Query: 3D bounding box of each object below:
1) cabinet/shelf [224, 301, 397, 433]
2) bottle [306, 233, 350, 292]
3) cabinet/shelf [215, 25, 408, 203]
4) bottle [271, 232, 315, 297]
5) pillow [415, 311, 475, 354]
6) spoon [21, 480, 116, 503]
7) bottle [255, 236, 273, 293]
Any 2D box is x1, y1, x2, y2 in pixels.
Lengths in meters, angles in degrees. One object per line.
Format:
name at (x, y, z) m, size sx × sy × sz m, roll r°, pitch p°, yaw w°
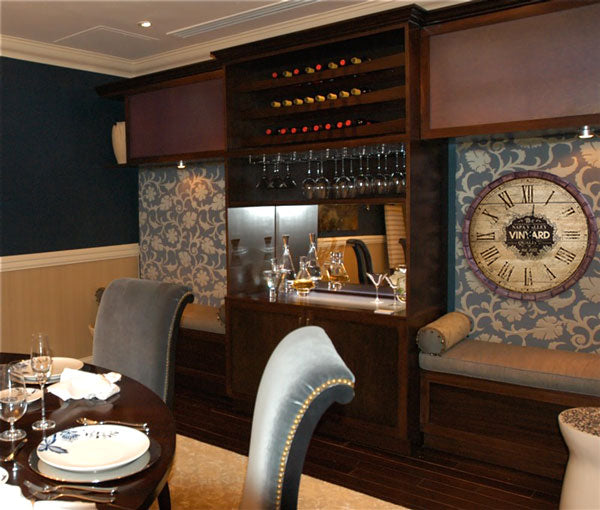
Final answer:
cabinet/shelf at (0.125, 0.708, 3.442) m, size 1.251 × 0.750 × 0.411 m, roll 5°, pitch 6°, yaw 25°
bottle at (0.209, 0.046, 3.726) m, size 0.433 × 0.465 × 0.181 m, roll 0°, pitch -1°, yaw 30°
cabinet/shelf at (0.088, -0.985, 3.399) m, size 1.333 × 1.145 × 0.440 m, roll 2°, pitch 3°, yaw 33°
bottle at (-0.049, 0.078, 3.833) m, size 0.435 × 0.557 × 0.222 m, roll 4°, pitch 8°, yaw 40°
pillow at (0.902, 0.480, 3.141) m, size 0.205 × 0.193 × 0.450 m, roll 27°, pitch 25°, yaw 30°
spoon at (-0.540, 0.550, 1.162) m, size 0.173 × 0.019 × 0.044 m, roll 7°, pitch 2°, yaw 2°
bottle at (-0.269, 0.013, 4.051) m, size 0.112 × 0.346 × 0.110 m, roll 0°, pitch 18°, yaw 0°
